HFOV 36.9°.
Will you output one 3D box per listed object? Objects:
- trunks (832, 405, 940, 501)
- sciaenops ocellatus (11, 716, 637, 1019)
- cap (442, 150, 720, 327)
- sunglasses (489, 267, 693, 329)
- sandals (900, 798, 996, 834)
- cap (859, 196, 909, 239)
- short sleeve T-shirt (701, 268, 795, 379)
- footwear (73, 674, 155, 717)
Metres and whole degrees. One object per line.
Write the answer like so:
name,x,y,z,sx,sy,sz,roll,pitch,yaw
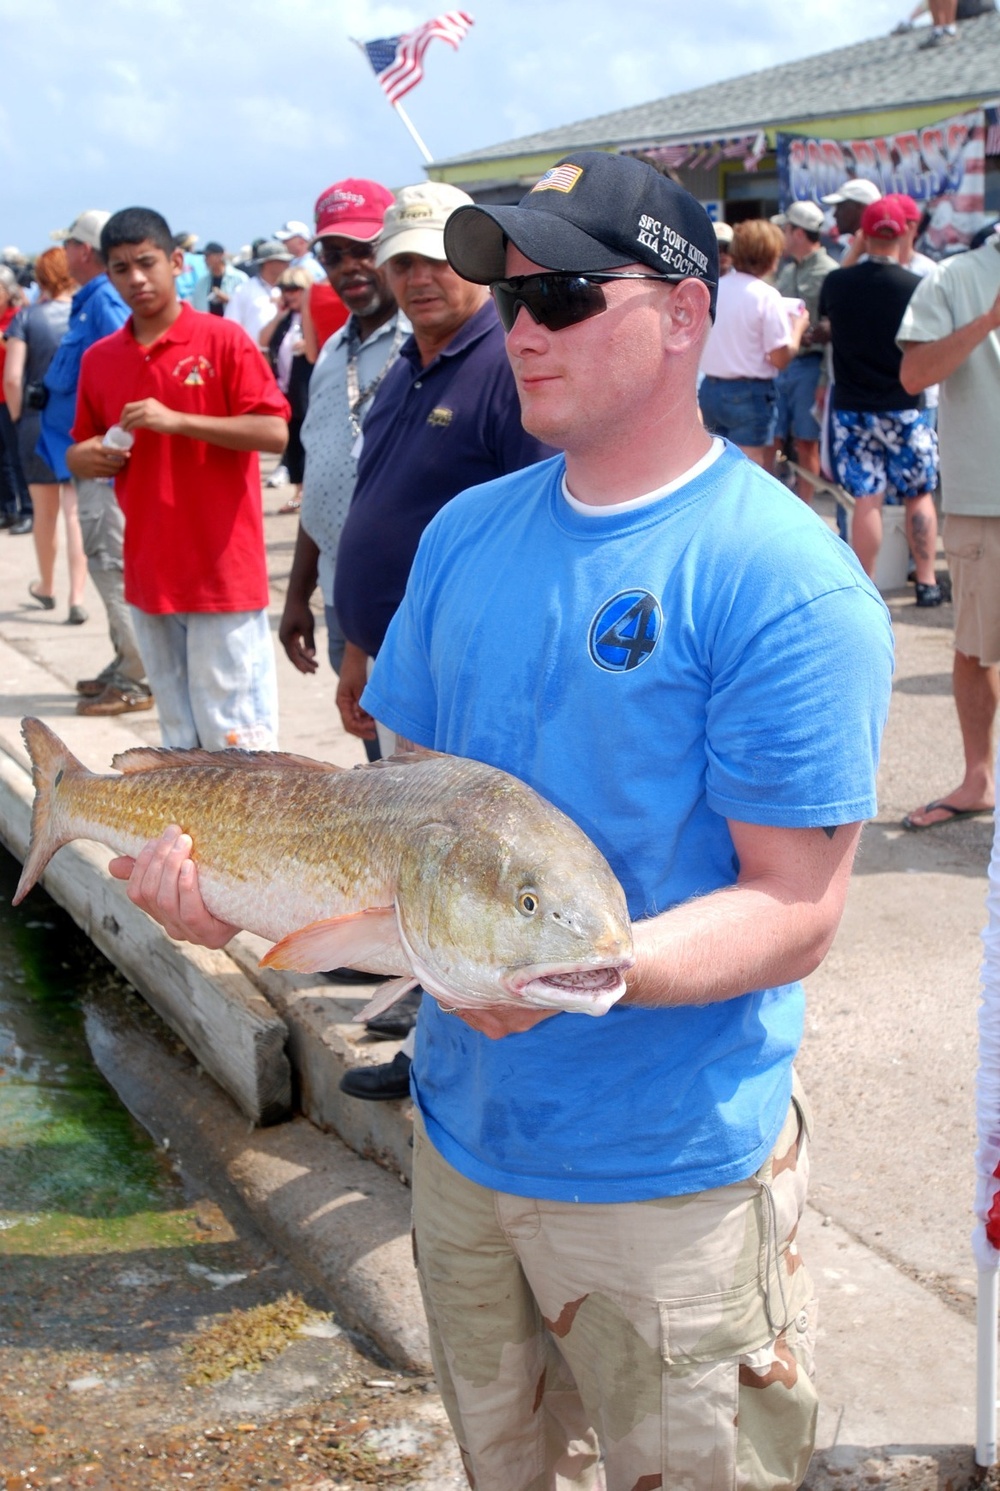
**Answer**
trunks,2.119,-1.604,8.043,0.615,0.529,0.365,9,24,38
sciaenops ocellatus,-0.206,0.133,1.768,0.228,0.256,0.962,-9,11,-34
cap,0.112,-0.629,1.799,0.342,0.139,0.225,2,11,-32
sunglasses,0.075,-0.523,1.711,0.154,0.039,0.113,-17,15,-32
sandals,1.562,0.241,5.283,0.348,0.071,0.121,-10,20,-7
cap,1.982,-2.753,7.705,0.202,0.248,0.159,5,-16,8
short sleeve T-shirt,1.619,-2.707,9.524,0.352,0.472,0.631,6,24,34
footwear,-1.787,-0.233,7.023,0.447,0.173,0.173,1,4,-40
